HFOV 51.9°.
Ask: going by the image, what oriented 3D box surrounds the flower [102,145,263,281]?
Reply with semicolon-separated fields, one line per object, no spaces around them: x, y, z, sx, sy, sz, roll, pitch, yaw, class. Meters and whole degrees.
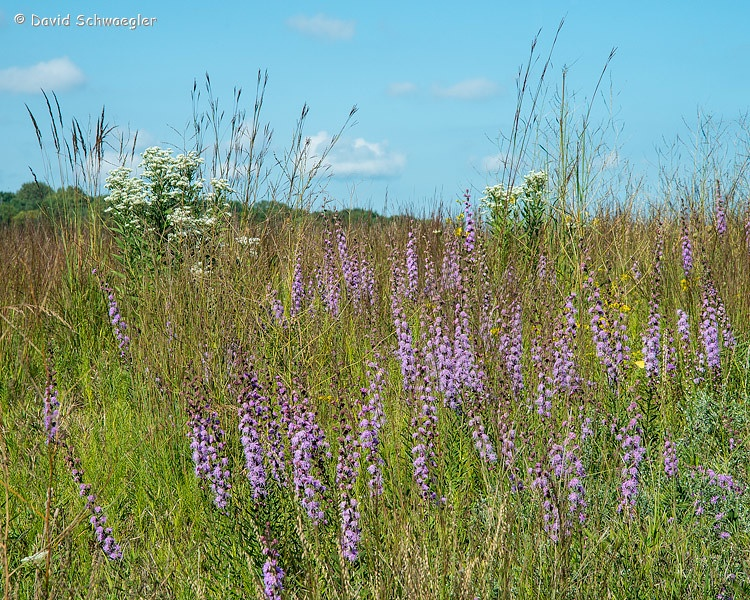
-1.908;-0.716;7.538;0.899;1.545;1.006;2;12;-8;flower
